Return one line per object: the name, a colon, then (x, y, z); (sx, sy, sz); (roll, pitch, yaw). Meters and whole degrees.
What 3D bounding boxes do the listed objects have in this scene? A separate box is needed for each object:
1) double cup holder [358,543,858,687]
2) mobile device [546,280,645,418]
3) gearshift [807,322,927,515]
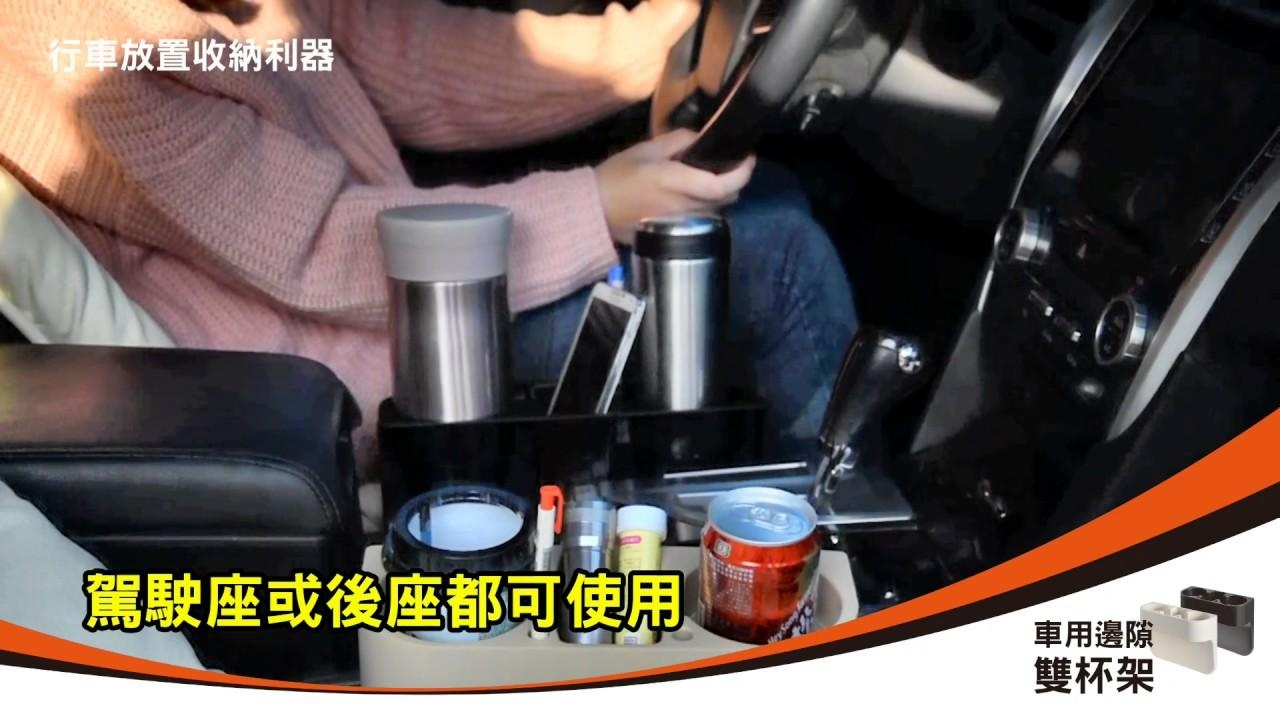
double cup holder: (-0.024, 0.330, 1.123); (0.569, 0.111, 0.211); (-3, 21, -4)
mobile device: (-0.054, -0.014, 1.226); (0.120, 0.229, 0.025); (21, -1, 31)
gearshift: (0.271, 0.051, 1.141); (0.141, 0.286, 0.085); (1, 1, 18)
